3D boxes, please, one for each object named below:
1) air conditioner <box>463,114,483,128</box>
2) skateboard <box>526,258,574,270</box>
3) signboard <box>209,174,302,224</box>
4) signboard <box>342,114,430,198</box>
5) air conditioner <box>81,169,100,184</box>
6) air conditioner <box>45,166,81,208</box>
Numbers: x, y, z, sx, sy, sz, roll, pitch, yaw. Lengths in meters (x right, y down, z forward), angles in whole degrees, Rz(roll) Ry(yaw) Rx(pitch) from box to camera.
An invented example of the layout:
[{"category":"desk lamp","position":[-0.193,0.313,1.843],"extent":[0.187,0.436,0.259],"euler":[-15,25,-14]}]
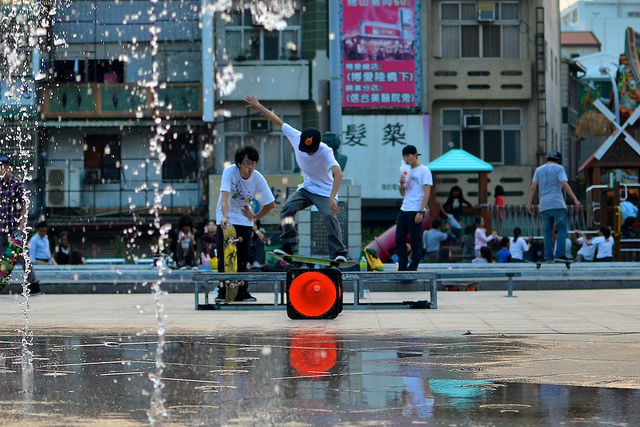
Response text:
[{"category":"air conditioner","position":[5.716,-3.476,56.634],"extent":[0.757,0.526,0.414],"euler":[1,4,6]},{"category":"skateboard","position":[6.647,1.403,43.746],"extent":[1.678,0.296,0.405],"euler":[-3,3,-36]},{"category":"signboard","position":[-2.422,-0.421,56.148],"extent":[3.677,2.258,1.890],"euler":[6,-8,-25]},{"category":"signboard","position":[2.556,-2.290,56.364],"extent":[3.504,3.079,1.222],"euler":[0,5,16]},{"category":"air conditioner","position":[-8.539,-1.429,56.707],"extent":[0.847,0.591,0.465],"euler":[1,3,-5]},{"category":"air conditioner","position":[-9.556,-1.034,56.618],"extent":[1.214,1.469,0.938],"euler":[0,2,4]}]
